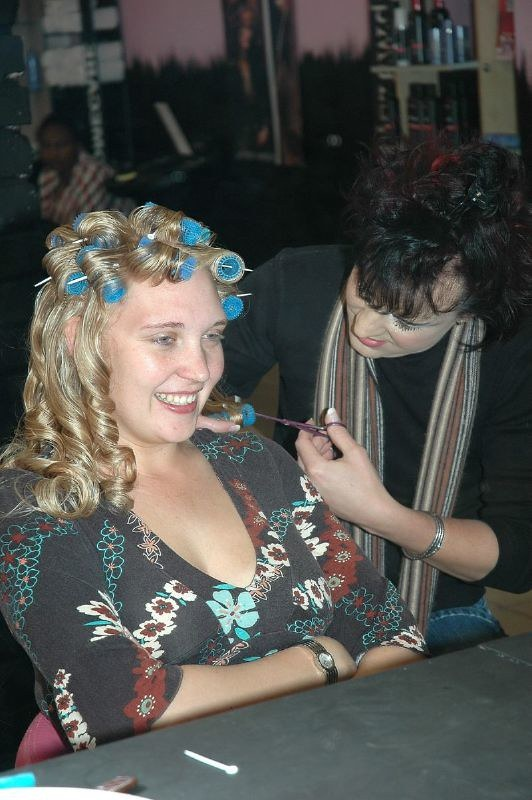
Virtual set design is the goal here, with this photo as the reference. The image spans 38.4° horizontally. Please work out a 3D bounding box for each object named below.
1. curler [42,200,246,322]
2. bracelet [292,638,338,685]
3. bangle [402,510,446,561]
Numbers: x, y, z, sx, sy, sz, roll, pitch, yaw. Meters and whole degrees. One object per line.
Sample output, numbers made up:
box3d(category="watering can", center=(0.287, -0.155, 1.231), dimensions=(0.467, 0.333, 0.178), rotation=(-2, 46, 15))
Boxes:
box3d(category="curler", center=(-0.200, -0.242, 1.247), dimensions=(0.267, 0.122, 0.231), rotation=(12, 16, 40))
box3d(category="bracelet", center=(0.086, 0.386, 1.134), dimensions=(0.059, 0.053, 0.060), rotation=(-31, 10, -34))
box3d(category="bangle", center=(0.333, 0.284, 1.591), dimensions=(0.098, 0.094, 0.038), rotation=(4, -17, 32))
